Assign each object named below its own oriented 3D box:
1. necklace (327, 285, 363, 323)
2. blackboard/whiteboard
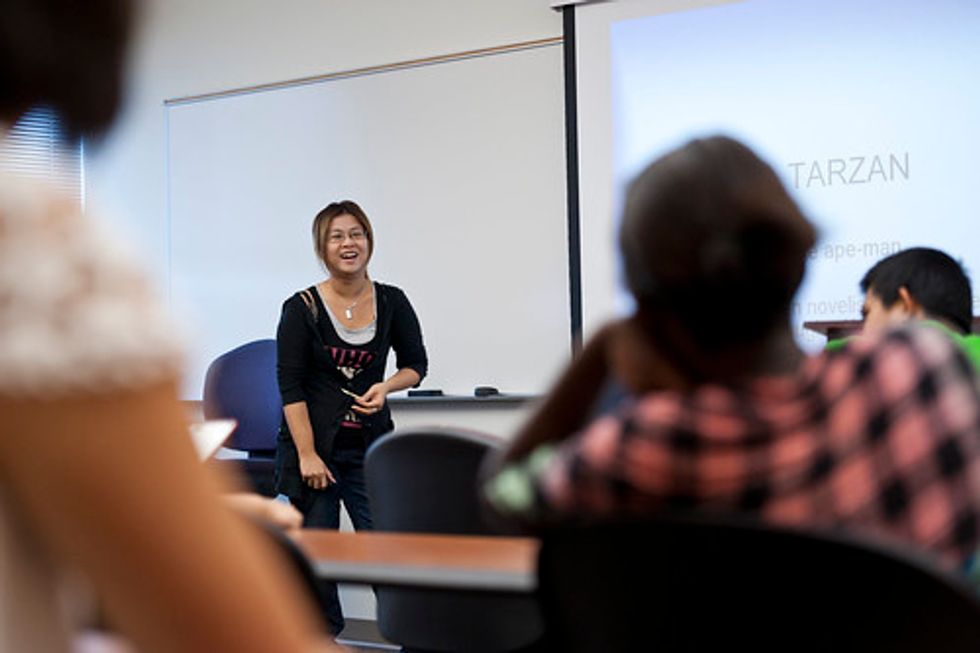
[{"bbox_3d":[-0.609,-0.088,3.172,0.156,0.152,0.047,-4,-14,-30],"label":"necklace"},{"bbox_3d":[-0.550,-0.619,4.214,2.344,1.677,0.080,-2,-3,20],"label":"blackboard/whiteboard"}]
